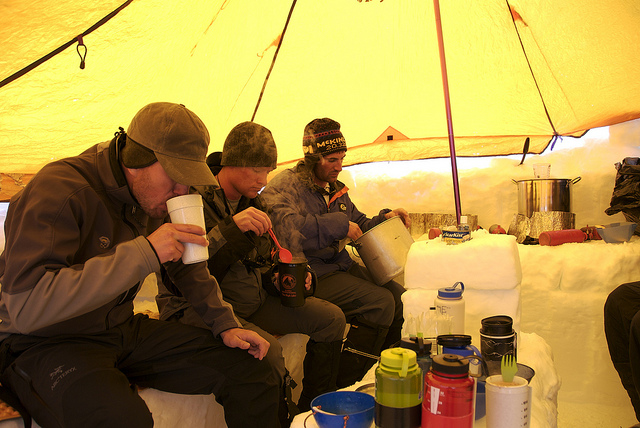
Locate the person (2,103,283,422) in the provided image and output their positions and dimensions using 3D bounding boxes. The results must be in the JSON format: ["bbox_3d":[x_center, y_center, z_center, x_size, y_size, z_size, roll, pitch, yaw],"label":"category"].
[{"bbox_3d":[-0.808,0.231,2.128,0.983,1.409,0.619,-1,-3,-39],"label":"person"}]

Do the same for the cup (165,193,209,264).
[{"bbox_3d":[-0.551,0.062,2.060,0.198,0.279,0.184,-2,-16,-1],"label":"cup"}]

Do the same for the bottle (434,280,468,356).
[{"bbox_3d":[0.549,0.394,2.051,0.121,0.185,0.253,-3,-2,16],"label":"bottle"}]

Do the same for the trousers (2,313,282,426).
[{"bbox_3d":[-0.775,0.666,2.072,0.858,0.217,0.583,9,-12,18],"label":"trousers"}]

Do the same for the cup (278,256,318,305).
[{"bbox_3d":[-0.109,0.386,2.673,0.249,0.220,0.156,-1,-5,22],"label":"cup"}]

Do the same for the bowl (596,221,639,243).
[{"bbox_3d":[1.987,0.125,3.255,0.229,0.127,0.158,-3,-2,22],"label":"bowl"}]

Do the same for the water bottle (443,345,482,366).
[{"bbox_3d":[0.529,0.512,1.787,0.114,0.089,0.069,0,-2,10],"label":"water bottle"}]

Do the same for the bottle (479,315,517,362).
[{"bbox_3d":[0.704,0.495,1.920,0.140,0.164,0.128,-4,9,1],"label":"bottle"}]

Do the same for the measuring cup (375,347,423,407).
[{"bbox_3d":[0.271,0.592,1.676,0.162,0.233,0.154,-2,-1,0],"label":"measuring cup"}]
